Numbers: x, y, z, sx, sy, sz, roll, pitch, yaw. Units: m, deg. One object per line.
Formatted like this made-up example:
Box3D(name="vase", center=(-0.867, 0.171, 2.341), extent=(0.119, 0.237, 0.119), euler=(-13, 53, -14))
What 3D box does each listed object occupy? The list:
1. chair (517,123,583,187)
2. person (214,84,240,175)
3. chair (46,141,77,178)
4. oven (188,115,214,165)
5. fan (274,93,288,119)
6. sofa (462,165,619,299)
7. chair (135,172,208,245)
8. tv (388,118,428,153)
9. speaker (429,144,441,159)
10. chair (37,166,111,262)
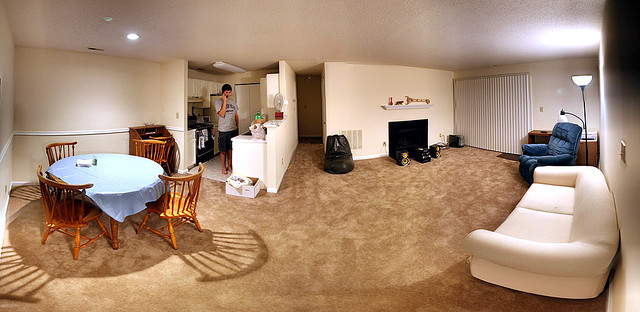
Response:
Box3D(name="chair", center=(6.026, -0.020, 9.054), extent=(1.265, 1.492, 1.270), euler=(-12, 16, 15))
Box3D(name="person", center=(-2.544, -0.736, 9.589), extent=(0.555, 2.418, 0.480), euler=(-3, 11, -13))
Box3D(name="chair", center=(-5.929, 0.086, 7.888), extent=(0.580, 0.662, 0.607), euler=(12, 20, 2))
Box3D(name="oven", center=(-3.743, -0.538, 10.729), extent=(0.716, 1.410, 1.169), euler=(-1, 10, -3))
Box3D(name="fan", center=(-1.059, -1.397, 9.690), extent=(0.331, 0.713, 0.570), euler=(-4, 11, -20))
Box3D(name="sofa", center=(4.974, 1.199, 7.232), extent=(2.234, 0.998, 4.305), euler=(4, 23, 43))
Box3D(name="chair", center=(-3.233, 0.983, 7.522), extent=(1.229, 1.449, 1.621), euler=(-5, 11, -26))
Box3D(name="tv", center=(2.851, -0.677, 11.358), extent=(1.351, 0.796, 0.124), euler=(-4, 4, -26))
Box3D(name="speaker", center=(3.661, -0.129, 10.862), extent=(0.453, 0.644, 0.399), euler=(-1, 6, 17))
Box3D(name="chair", center=(-4.913, 1.094, 6.897), extent=(1.284, 1.786, 0.840), euler=(6, 12, 31))
